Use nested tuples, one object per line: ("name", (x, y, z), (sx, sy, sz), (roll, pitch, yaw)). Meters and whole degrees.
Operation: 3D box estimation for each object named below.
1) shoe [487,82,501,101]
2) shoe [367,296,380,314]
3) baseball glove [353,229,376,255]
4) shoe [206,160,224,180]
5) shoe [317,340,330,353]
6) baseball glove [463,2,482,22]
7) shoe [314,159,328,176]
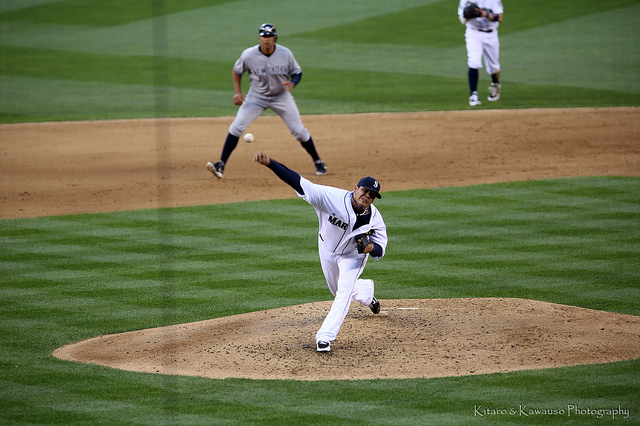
("shoe", (4.214, -2.992, 29.599), (0.245, 0.440, 0.713), (-3, 8, 3))
("shoe", (1.048, 1.789, 23.788), (0.170, 0.364, 0.137), (-21, 27, 1))
("baseball glove", (0.854, 0.537, 23.154), (0.331, 0.400, 0.228), (-5, -26, 33))
("shoe", (-2.308, -1.003, 27.129), (0.370, 0.381, 0.647), (-4, 8, -4))
("shoe", (0.063, 2.487, 22.825), (0.268, 0.175, 0.483), (2, 1, 3))
("baseball glove", (3.473, -4.660, 28.082), (0.310, 0.322, 0.368), (18, 47, 2))
("shoe", (0.019, -1.098, 28.444), (0.292, 0.406, 0.507), (-3, 9, 0))
